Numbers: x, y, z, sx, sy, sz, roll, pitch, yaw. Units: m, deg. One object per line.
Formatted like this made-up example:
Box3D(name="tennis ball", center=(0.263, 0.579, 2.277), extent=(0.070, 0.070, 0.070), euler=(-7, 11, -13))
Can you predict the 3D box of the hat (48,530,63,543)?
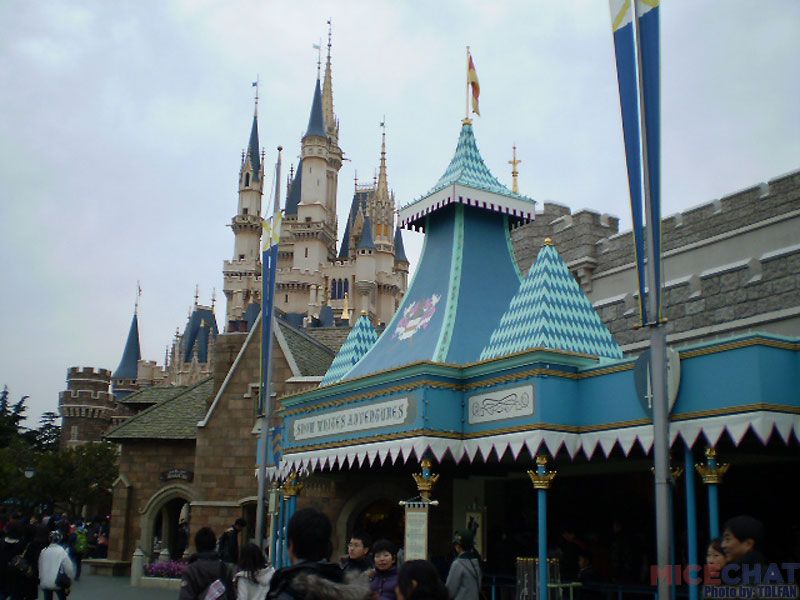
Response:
Box3D(name="hat", center=(-5.900, 4.046, 19.167), extent=(0.205, 0.242, 0.240), euler=(9, -11, -31))
